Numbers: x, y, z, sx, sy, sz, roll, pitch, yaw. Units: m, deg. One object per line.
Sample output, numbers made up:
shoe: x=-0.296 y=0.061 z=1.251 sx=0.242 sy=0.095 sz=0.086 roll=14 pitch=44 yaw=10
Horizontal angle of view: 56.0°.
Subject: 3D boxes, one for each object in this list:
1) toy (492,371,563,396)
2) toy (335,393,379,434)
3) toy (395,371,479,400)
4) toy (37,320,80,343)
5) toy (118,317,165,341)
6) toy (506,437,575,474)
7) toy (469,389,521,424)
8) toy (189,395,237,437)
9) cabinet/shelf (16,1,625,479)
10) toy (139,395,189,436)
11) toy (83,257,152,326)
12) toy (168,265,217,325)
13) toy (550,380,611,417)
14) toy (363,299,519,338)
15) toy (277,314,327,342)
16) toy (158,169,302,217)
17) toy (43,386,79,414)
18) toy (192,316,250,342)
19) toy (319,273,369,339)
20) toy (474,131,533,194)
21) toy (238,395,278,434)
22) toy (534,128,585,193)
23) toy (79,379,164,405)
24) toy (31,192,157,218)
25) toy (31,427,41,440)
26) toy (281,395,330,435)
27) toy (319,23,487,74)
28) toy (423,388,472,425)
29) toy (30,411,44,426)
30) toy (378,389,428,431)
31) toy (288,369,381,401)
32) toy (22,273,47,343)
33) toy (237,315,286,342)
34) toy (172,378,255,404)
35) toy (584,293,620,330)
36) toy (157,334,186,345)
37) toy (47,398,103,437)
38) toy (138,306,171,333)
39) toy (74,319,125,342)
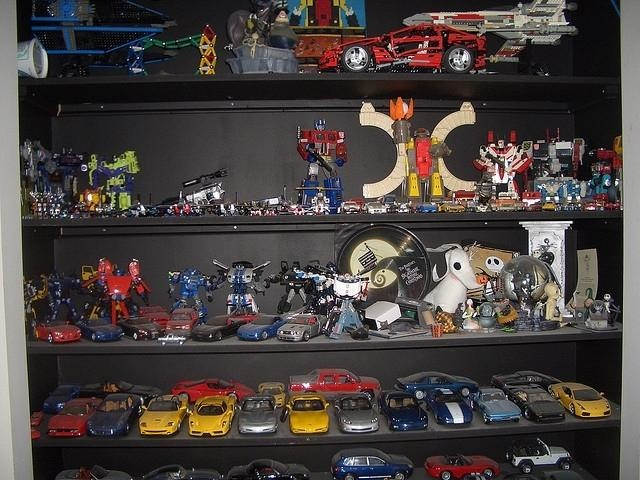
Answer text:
toy: x=1.505 y=1.044 z=4.485 sx=0.310 sy=0.090 sz=0.197 roll=-2 pitch=3 yaw=-9
toy: x=0.245 y=1.192 z=4.129 sx=0.285 sy=0.193 sz=0.257 roll=-4 pitch=6 yaw=-1
toy: x=0.875 y=1.059 z=4.427 sx=0.475 sy=0.154 sz=0.244 roll=-4 pitch=7 yaw=-2
toy: x=-1.766 y=0.617 z=4.078 sx=0.135 sy=0.078 sz=0.246 roll=1 pitch=-2 yaw=-44
toy: x=-1.254 y=0.599 z=4.166 sx=0.256 sy=0.086 sz=0.151 roll=4 pitch=4 yaw=43
toy: x=1.587 y=1.521 z=4.310 sx=0.379 sy=0.177 sz=0.211 roll=-5 pitch=8 yaw=6
toy: x=1.247 y=1.160 z=4.210 sx=0.306 sy=0.174 sz=0.258 roll=-4 pitch=6 yaw=-4
toy: x=-0.740 y=1.195 z=4.126 sx=0.315 sy=0.195 sz=0.343 roll=-5 pitch=6 yaw=-9
cabinet/shelf: x=-0.111 y=-0.035 z=4.321 sx=3.488 sy=2.331 sz=0.628 roll=-1 pitch=2 yaw=-4
toy: x=-1.056 y=1.198 z=4.150 sx=0.246 sy=0.177 sz=0.392 roll=-3 pitch=6 yaw=10
toy: x=-1.494 y=0.386 z=4.371 sx=0.453 sy=0.514 sz=0.215 roll=1 pitch=0 yaw=-30
toy: x=-0.947 y=0.416 z=4.413 sx=0.384 sy=0.423 sz=0.154 roll=1 pitch=-3 yaw=-9
toy: x=1.824 y=1.113 z=4.222 sx=0.197 sy=0.097 sz=0.312 roll=-1 pitch=-1 yaw=-4
toy: x=0.778 y=0.537 z=4.312 sx=0.948 sy=0.209 sz=0.359 roll=-5 pitch=6 yaw=-9
toy: x=-0.139 y=0.597 z=4.093 sx=0.157 sy=0.098 sz=0.254 roll=-1 pitch=-1 yaw=24
toy: x=-0.657 y=-0.281 z=4.298 sx=0.744 sy=0.296 sz=0.476 roll=1 pitch=6 yaw=6
toy: x=-1.838 y=1.125 z=4.260 sx=0.109 sy=0.084 sz=0.251 roll=-1 pitch=-2 yaw=-2
toy: x=-0.692 y=0.606 z=4.168 sx=0.156 sy=0.078 sz=0.265 roll=-2 pitch=3 yaw=33
toy: x=0.173 y=0.462 z=4.185 sx=0.380 sy=0.531 sz=0.384 roll=1 pitch=-4 yaw=-1
toy: x=1.358 y=-0.561 z=4.498 sx=0.444 sy=0.477 sz=0.447 roll=-4 pitch=6 yaw=-3
toy: x=-0.433 y=1.197 z=4.087 sx=0.261 sy=0.196 sz=0.238 roll=-5 pitch=6 yaw=-10
toy: x=1.739 y=-0.579 z=4.437 sx=0.337 sy=0.476 sz=0.195 roll=2 pitch=0 yaw=6
toy: x=-1.446 y=1.093 z=4.364 sx=0.366 sy=0.112 sz=0.235 roll=-1 pitch=0 yaw=-8
toy: x=-1.624 y=-0.218 z=4.170 sx=0.491 sy=0.117 sz=0.350 roll=0 pitch=2 yaw=-3
toy: x=-1.890 y=1.292 z=4.003 sx=0.083 sy=0.032 sz=0.119 roll=0 pitch=2 yaw=-30
toy: x=-0.103 y=1.200 z=4.097 sx=0.193 sy=0.113 sz=0.354 roll=0 pitch=1 yaw=-3
toy: x=0.602 y=-1.309 z=4.186 sx=0.892 sy=0.281 sz=0.486 roll=1 pitch=9 yaw=-2
toy: x=0.900 y=1.165 z=4.200 sx=0.149 sy=0.095 sz=0.311 roll=-1 pitch=0 yaw=-4
toy: x=-1.947 y=1.234 z=4.151 sx=0.076 sy=0.065 sz=0.121 roll=-6 pitch=6 yaw=-22
toy: x=0.573 y=1.181 z=4.178 sx=0.296 sy=0.196 sz=0.307 roll=-4 pitch=6 yaw=-3
toy: x=0.101 y=1.033 z=4.384 sx=0.514 sy=0.163 sz=0.274 roll=-1 pitch=2 yaw=-4
toy: x=-1.985 y=0.462 z=4.216 sx=0.121 sy=0.399 sz=0.324 roll=-5 pitch=6 yaw=-9
toy: x=-0.405 y=0.599 z=4.173 sx=0.151 sy=0.082 sz=0.270 roll=0 pitch=3 yaw=25
toy: x=-0.798 y=1.074 z=4.358 sx=0.412 sy=0.113 sz=0.241 roll=-1 pitch=2 yaw=-6
toy: x=1.948 y=0.518 z=4.205 sx=0.259 sy=0.267 sz=0.196 roll=0 pitch=-4 yaw=6
toy: x=-1.002 y=0.673 z=4.062 sx=0.140 sy=0.051 sz=0.077 roll=2 pitch=-4 yaw=-3
toy: x=-1.671 y=1.209 z=4.111 sx=0.273 sy=0.170 sz=0.337 roll=-4 pitch=6 yaw=-2
toy: x=-1.162 y=0.559 z=4.310 sx=0.122 sy=0.093 sz=0.251 roll=0 pitch=-2 yaw=-33
toy: x=-1.531 y=0.610 z=4.161 sx=0.144 sy=0.078 sz=0.257 roll=0 pitch=1 yaw=-39
